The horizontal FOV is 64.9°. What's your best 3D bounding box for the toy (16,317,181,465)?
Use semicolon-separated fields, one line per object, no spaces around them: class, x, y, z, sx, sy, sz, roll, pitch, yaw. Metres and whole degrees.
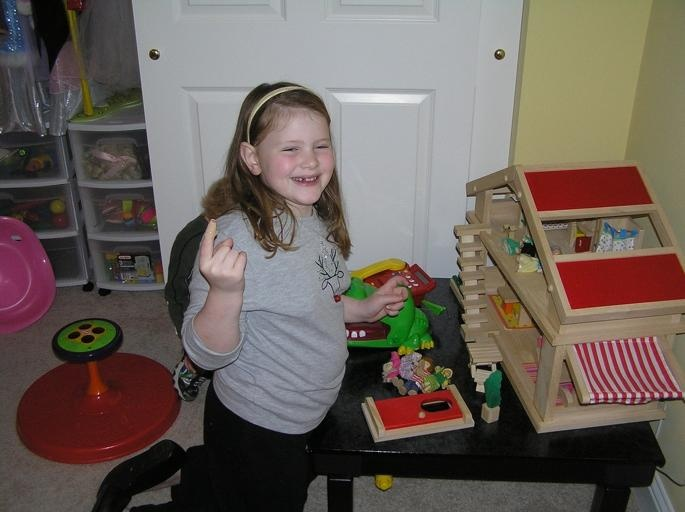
toy;-0.848;0.463;1.873;0.543;0.220;0.469;-5;26;-9

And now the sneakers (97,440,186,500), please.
sneakers;-0.547;0.582;1.469;0.128;0.071;0.208;30;61;14
